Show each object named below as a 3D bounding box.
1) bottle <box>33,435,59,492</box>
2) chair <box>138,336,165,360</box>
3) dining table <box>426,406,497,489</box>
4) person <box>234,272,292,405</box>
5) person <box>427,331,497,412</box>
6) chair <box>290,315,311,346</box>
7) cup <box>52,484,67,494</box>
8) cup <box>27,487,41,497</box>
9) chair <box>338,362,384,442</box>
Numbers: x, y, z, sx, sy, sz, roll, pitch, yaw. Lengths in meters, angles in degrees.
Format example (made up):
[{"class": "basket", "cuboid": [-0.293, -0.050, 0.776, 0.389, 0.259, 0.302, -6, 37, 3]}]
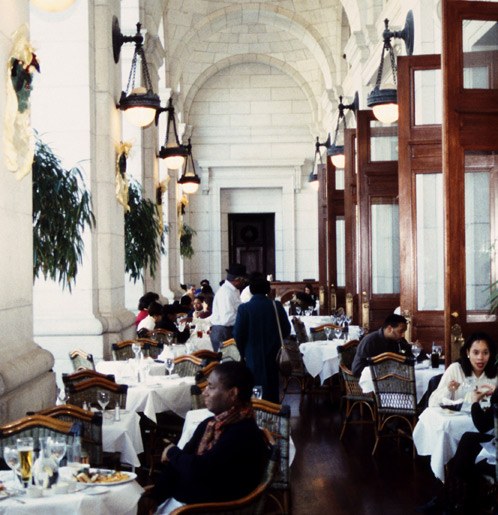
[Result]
[{"class": "bottle", "cuboid": [-1.050, 1.083, 4.182, 0.150, 0.355, 0.165, 2, -8, -19]}, {"class": "chair", "cuboid": [-1.061, 0.983, 8.952, 0.195, 0.236, 0.228, -2, -5, 3]}, {"class": "dining table", "cuboid": [1.517, 1.391, 5.998, 0.381, 0.345, 0.421, -1, 1, -20]}, {"class": "person", "cuboid": [0.157, 0.835, 8.220, 0.485, 1.728, 0.432, -9, 37, -7]}, {"class": "person", "cuboid": [1.650, 0.885, 6.220, 0.390, 0.868, 0.261, 12, -12, 9]}, {"class": "chair", "cuboid": [0.794, 1.083, 12.141, 0.260, 0.564, 0.279, -7, 7, -13]}, {"class": "cup", "cuboid": [-0.963, 1.177, 4.159, 0.056, 0.030, 0.044, 0, -5, 11]}, {"class": "cup", "cuboid": [-1.083, 1.184, 4.116, 0.077, 0.038, 0.062, 3, 1, 15]}, {"class": "chair", "cuboid": [1.152, 1.508, 8.576, 0.483, 1.055, 0.557, -1, -2, 6]}]
